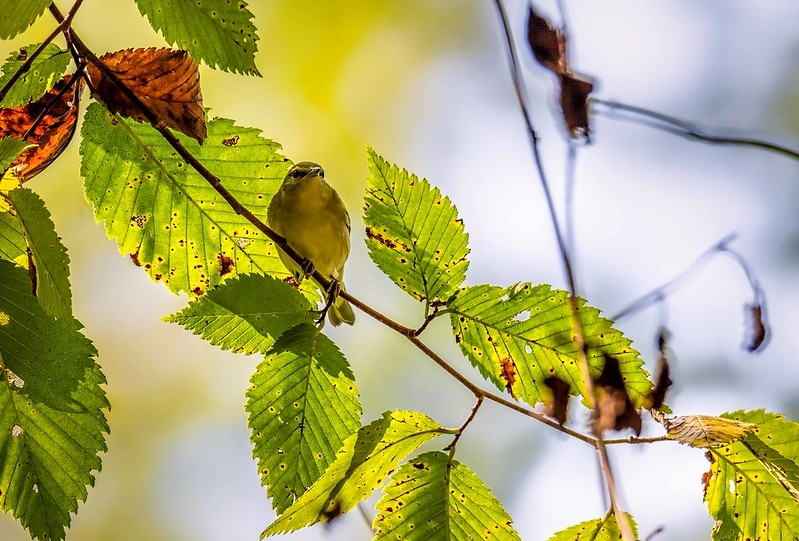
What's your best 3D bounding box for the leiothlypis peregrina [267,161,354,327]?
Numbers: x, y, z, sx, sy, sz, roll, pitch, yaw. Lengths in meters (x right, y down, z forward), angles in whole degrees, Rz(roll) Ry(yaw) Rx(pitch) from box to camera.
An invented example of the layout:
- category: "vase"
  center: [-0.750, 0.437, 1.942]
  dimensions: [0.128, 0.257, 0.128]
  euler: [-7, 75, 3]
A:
- category: "leiothlypis peregrina"
  center: [-0.439, -0.112, 4.377]
  dimensions: [0.255, 0.336, 0.834]
  euler: [-14, -59, -4]
